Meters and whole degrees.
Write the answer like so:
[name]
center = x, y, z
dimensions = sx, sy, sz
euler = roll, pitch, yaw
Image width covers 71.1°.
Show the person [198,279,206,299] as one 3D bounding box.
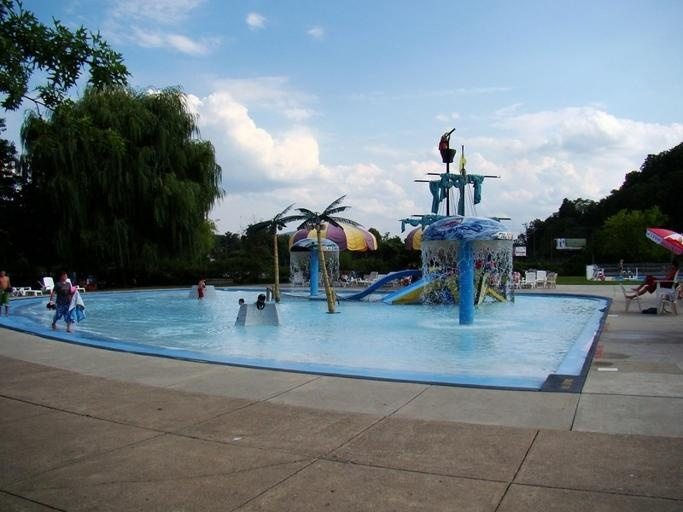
[person]
center = -7.848, 1.802, 26.745
dimensions = 0.383, 0.978, 1.122
euler = -1, 1, -18
